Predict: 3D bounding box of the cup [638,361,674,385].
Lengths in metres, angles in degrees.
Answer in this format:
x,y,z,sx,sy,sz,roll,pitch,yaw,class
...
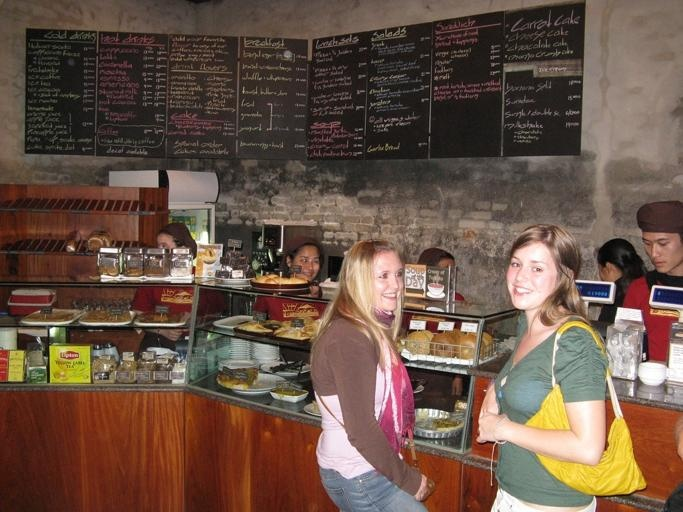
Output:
x,y,z,sx,sy,sz,roll,pitch,yaw,class
1.448,0.530,2.424,0.109,0.067,0.106,0,0,0,cup

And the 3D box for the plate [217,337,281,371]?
x,y,z,sx,sy,sz,roll,pitch,yaw,class
-0.586,0.614,3.371,0.247,0.117,0.284,1,0,-43,plate

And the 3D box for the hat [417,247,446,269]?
x,y,z,sx,sy,sz,roll,pitch,yaw,class
0.758,0.016,4.470,0.159,0.212,0.213,6,4,8,hat

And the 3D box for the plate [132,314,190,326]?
x,y,z,sx,sy,sz,roll,pitch,yaw,class
-1.131,0.400,3.317,0.363,0.092,0.096,0,-1,4,plate

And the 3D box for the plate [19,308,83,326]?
x,y,z,sx,sy,sz,roll,pitch,yaw,class
-1.798,0.376,3.277,0.345,0.099,0.187,0,-1,-27,plate

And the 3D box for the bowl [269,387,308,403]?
x,y,z,sx,sy,sz,roll,pitch,yaw,class
-0.299,0.792,3.059,0.154,0.031,0.098,3,3,20,bowl

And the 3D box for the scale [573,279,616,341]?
x,y,z,sx,sy,sz,roll,pitch,yaw,class
1.373,0.319,2.839,0.121,0.364,0.201,-3,2,-30,scale

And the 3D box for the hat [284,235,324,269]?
x,y,z,sx,sy,sz,roll,pitch,yaw,class
-0.329,-0.055,4.711,0.241,0.249,0.322,2,-3,-38,hat

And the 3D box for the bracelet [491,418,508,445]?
x,y,z,sx,sy,sz,roll,pitch,yaw,class
0.587,0.649,1.978,0.075,0.093,0.105,0,-1,4,bracelet

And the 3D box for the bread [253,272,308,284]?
x,y,z,sx,sy,sz,roll,pitch,yaw,class
-0.373,0.139,3.243,0.357,0.056,0.250,-1,-1,28,bread

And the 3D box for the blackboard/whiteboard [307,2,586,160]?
x,y,z,sx,sy,sz,roll,pitch,yaw,class
1.030,-1.580,4.844,1.824,0.841,0.024,2,-1,32,blackboard/whiteboard

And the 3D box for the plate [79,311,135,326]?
x,y,z,sx,sy,sz,roll,pitch,yaw,class
-1.460,0.384,3.283,0.201,0.027,0.140,2,5,4,plate
